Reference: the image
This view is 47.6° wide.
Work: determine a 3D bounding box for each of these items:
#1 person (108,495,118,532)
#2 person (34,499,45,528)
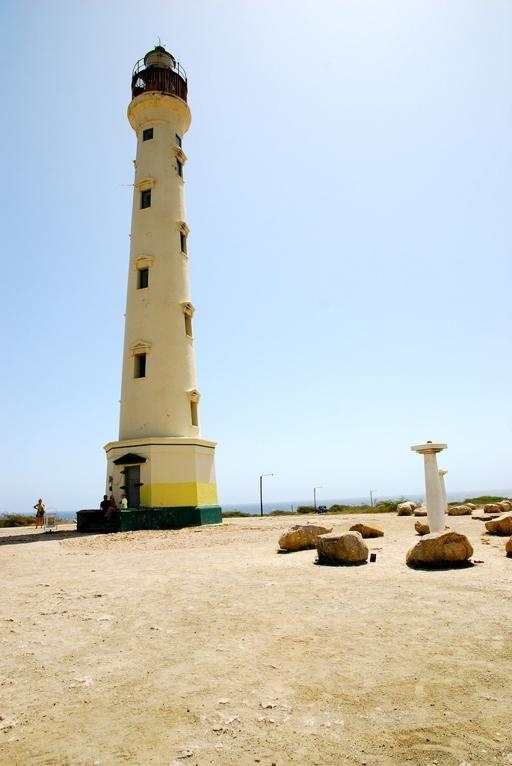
[{"bbox_3d":[-5.578,5.194,22.808,0.321,1.106,1.570,0,-7,-15],"label":"person"},{"bbox_3d":[-10.170,6.263,27.583,0.422,1.414,2.683,0,-7,-19],"label":"person"}]
